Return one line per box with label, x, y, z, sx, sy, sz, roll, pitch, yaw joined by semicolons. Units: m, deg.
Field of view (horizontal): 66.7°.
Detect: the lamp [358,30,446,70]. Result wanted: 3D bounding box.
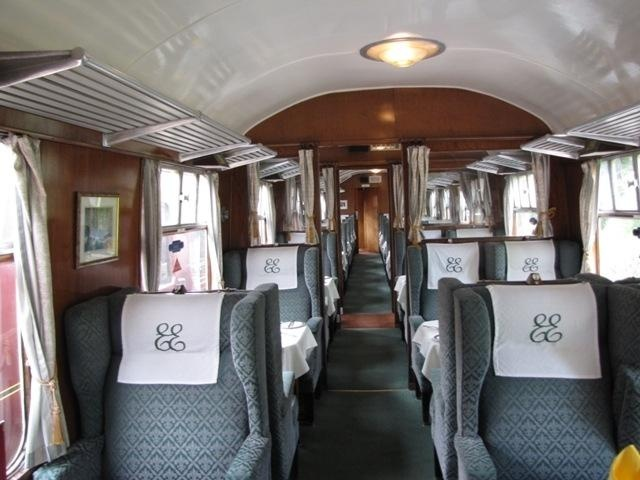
lamp;0.888;-2.087;5.479;0.952;0.274;0.526;1;6;23
